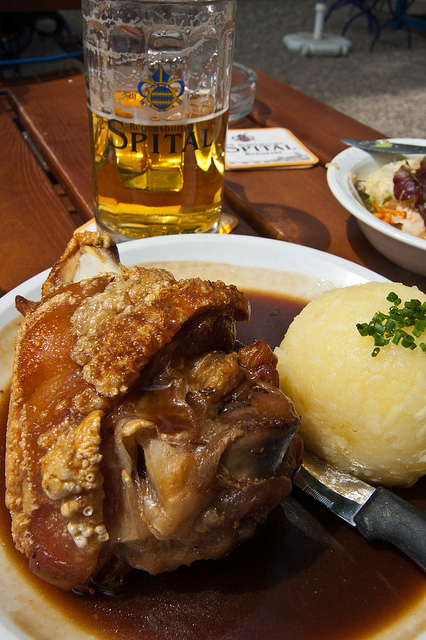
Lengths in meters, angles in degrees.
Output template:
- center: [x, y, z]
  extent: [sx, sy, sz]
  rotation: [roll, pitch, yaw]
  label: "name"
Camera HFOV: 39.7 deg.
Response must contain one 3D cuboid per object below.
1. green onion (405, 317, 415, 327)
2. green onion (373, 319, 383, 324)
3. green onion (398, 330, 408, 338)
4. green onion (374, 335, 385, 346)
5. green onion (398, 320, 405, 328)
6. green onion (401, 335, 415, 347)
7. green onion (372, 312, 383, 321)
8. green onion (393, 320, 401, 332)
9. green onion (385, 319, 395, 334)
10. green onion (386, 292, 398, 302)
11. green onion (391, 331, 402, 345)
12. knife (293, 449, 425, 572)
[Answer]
- center: [0.347, 0.004, 1.042]
  extent: [0.017, 0.010, 0.017]
  rotation: [13, 40, 10]
  label: "green onion"
- center: [0.292, 0.002, 1.043]
  extent: [0.011, 0.008, 0.006]
  rotation: [2, 73, 45]
  label: "green onion"
- center: [0.331, 0.024, 1.022]
  extent: [0.013, 0.003, 0.011]
  rotation: [13, 40, -16]
  label: "green onion"
- center: [0.291, 0.035, 1.030]
  extent: [0.019, 0.016, 0.014]
  rotation: [-1, 9, 5]
  label: "green onion"
- center: [0.331, 0.007, 1.032]
  extent: [0.008, 0.002, 0.010]
  rotation: [3, 56, -23]
  label: "green onion"
- center: [0.338, 0.036, 1.023]
  extent: [0.018, 0.021, 0.020]
  rotation: [12, 32, -10]
  label: "green onion"
- center: [0.291, -0.007, 1.046]
  extent: [0.015, 0.014, 0.008]
  rotation: [39, 54, 3]
  label: "green onion"
- center: [0.322, 0.010, 1.034]
  extent: [0.016, 0.004, 0.015]
  rotation: [23, 54, 2]
  label: "green onion"
- center: [0.307, 0.010, 1.022]
  extent: [0.013, 0.006, 0.023]
  rotation: [6, 52, 37]
  label: "green onion"
- center: [0.328, -0.043, 1.083]
  extent: [0.017, 0.017, 0.015]
  rotation: [16, 77, 2]
  label: "green onion"
- center: [0.317, 0.031, 1.019]
  extent: [0.013, 0.018, 0.005]
  rotation: [9, 3, 1]
  label: "green onion"
- center: [0.255, 0.303, 0.986]
  extent: [0.262, 0.093, 0.105]
  rotation: [33, 47, 30]
  label: "knife"
